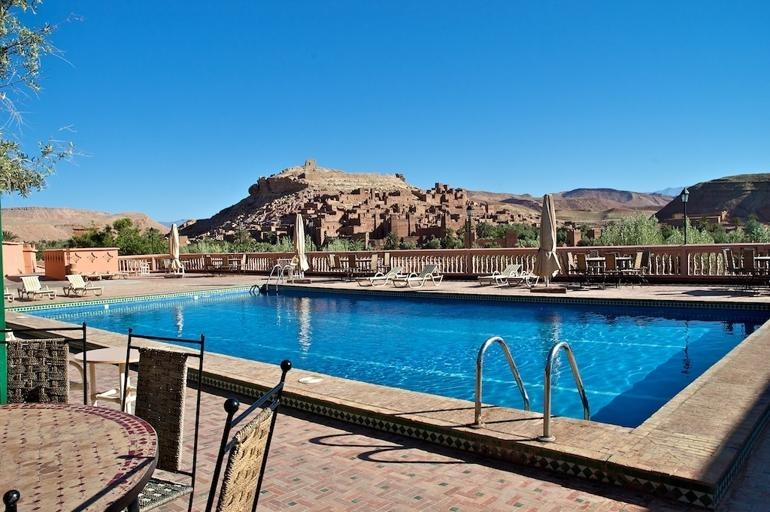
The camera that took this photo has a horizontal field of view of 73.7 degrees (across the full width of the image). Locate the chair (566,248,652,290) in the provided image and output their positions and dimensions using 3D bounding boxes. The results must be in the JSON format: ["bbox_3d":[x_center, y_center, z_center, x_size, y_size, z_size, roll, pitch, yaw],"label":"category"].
[{"bbox_3d":[7.265,0.389,16.605,2.442,0.847,2.127,-2,0,17],"label":"chair"}]

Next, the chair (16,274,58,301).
[{"bbox_3d":[-12.654,1.201,18.288,2.246,0.839,1.055,-1,-1,33],"label":"chair"}]

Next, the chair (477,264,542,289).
[{"bbox_3d":[4.391,0.732,17.796,1.621,0.431,0.921,4,-6,-30],"label":"chair"}]
